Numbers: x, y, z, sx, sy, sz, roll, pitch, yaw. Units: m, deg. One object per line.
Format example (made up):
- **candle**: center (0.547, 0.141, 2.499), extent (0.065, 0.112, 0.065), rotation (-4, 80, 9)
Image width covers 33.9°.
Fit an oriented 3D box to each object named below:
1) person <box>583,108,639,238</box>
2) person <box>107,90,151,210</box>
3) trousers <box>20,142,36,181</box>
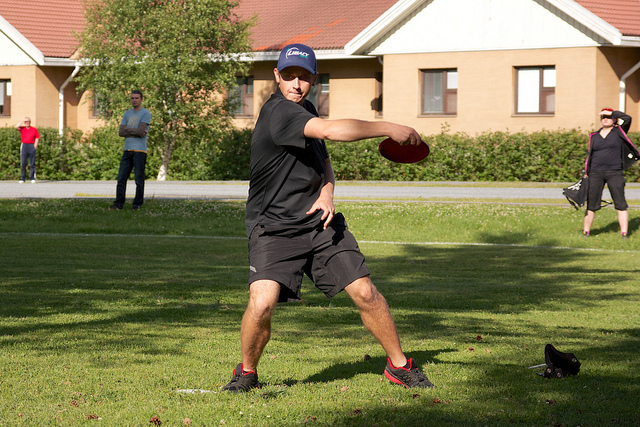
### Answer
- **person**: center (7.123, -1.015, 25.988), extent (1.224, 3.106, 1.473), rotation (1, 2, 13)
- **person**: center (-4.850, -1.649, 26.868), extent (0.870, 3.057, 1.110), rotation (0, 2, -11)
- **trousers**: center (-10.858, -1.917, 38.854), extent (0.495, 1.368, 1.055), rotation (0, 2, -14)
